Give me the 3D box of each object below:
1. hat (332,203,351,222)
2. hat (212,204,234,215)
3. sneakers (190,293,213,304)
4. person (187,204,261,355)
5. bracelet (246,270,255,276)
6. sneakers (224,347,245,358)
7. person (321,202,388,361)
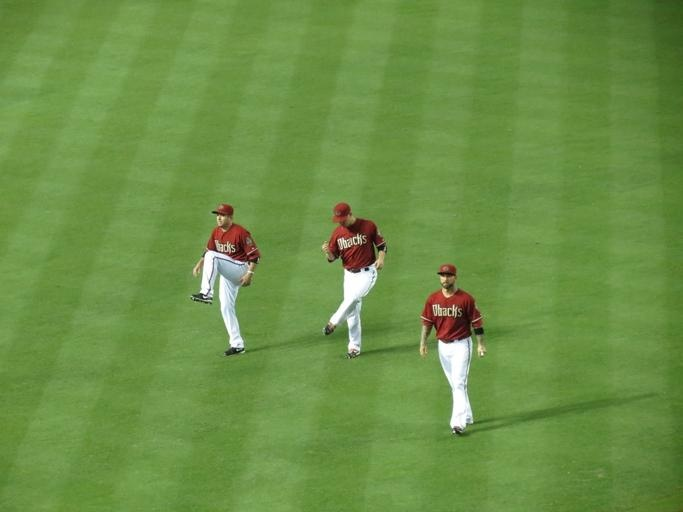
[{"bbox_3d":[0.025,-0.773,23.193,0.316,0.489,0.408,0,32,-2],"label":"hat"},{"bbox_3d":[-2.121,-0.842,23.495,0.309,0.218,0.444,5,3,44],"label":"hat"},{"bbox_3d":[-2.606,0.811,23.391,0.291,0.104,0.147,22,52,-10],"label":"sneakers"},{"bbox_3d":[-2.136,0.488,23.491,1.127,2.597,1.306,2,32,0],"label":"person"},{"bbox_3d":[-1.712,0.326,23.532,0.108,0.079,0.106,-3,9,-17],"label":"bracelet"},{"bbox_3d":[-2.018,1.846,23.618,0.413,0.174,0.147,0,5,-20],"label":"sneakers"},{"bbox_3d":[0.238,0.472,23.318,1.122,2.723,1.149,1,32,-2],"label":"person"}]
